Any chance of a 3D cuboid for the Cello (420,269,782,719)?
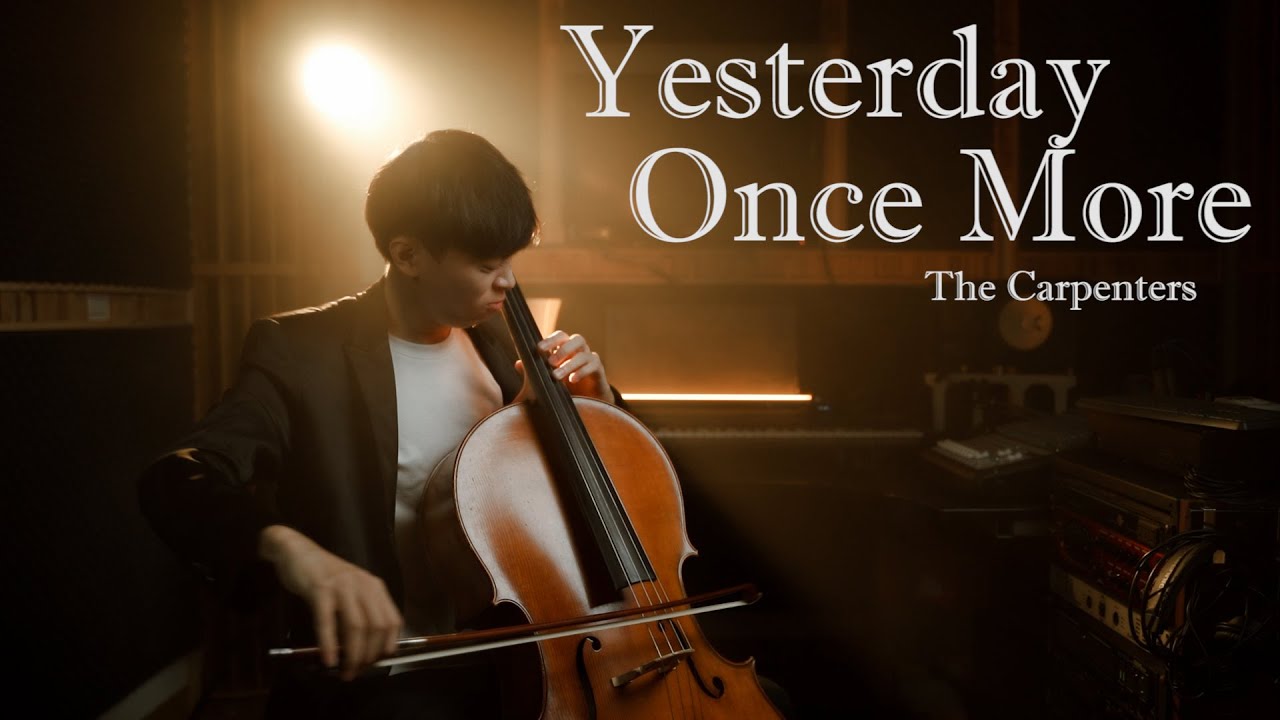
[{"bbox_3d":[-0.230,0.665,3.420,0.863,1.734,0.547,-13,-8,-20],"label":"Cello"}]
